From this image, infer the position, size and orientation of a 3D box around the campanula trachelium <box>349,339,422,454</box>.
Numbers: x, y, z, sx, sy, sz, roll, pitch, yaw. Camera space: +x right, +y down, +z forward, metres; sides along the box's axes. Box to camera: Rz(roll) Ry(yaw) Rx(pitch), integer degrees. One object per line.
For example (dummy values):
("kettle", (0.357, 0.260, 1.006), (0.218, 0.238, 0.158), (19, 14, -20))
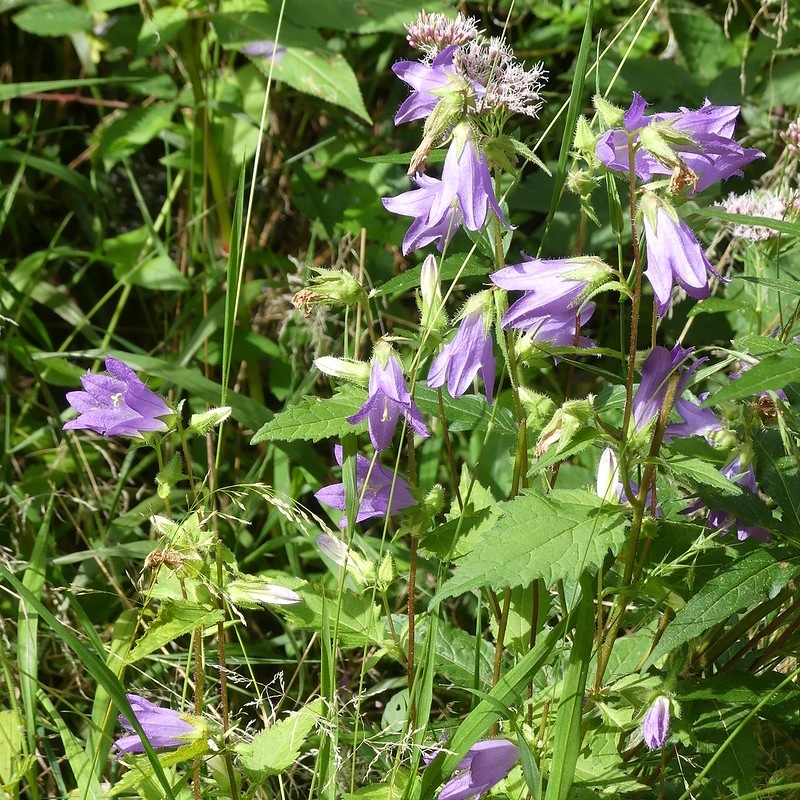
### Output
("campanula trachelium", (-0.018, -0.017, 1.338), (0.093, 0.086, 0.159), (6, 99, -2))

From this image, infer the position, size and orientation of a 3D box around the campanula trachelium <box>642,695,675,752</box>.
("campanula trachelium", (0.378, 0.486, 1.342), (0.036, 0.067, 0.071), (11, 67, 10))

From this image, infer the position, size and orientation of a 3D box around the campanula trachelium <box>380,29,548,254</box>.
("campanula trachelium", (0.092, -0.446, 1.432), (0.229, 0.163, 0.417), (-5, 63, 19))

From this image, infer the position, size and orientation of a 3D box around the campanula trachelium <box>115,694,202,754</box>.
("campanula trachelium", (-0.365, 0.508, 1.398), (0.131, 0.064, 0.100), (17, 74, -8))

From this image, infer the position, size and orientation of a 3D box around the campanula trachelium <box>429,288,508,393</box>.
("campanula trachelium", (0.091, -0.059, 1.372), (0.095, 0.201, 0.138), (0, 64, 4))
